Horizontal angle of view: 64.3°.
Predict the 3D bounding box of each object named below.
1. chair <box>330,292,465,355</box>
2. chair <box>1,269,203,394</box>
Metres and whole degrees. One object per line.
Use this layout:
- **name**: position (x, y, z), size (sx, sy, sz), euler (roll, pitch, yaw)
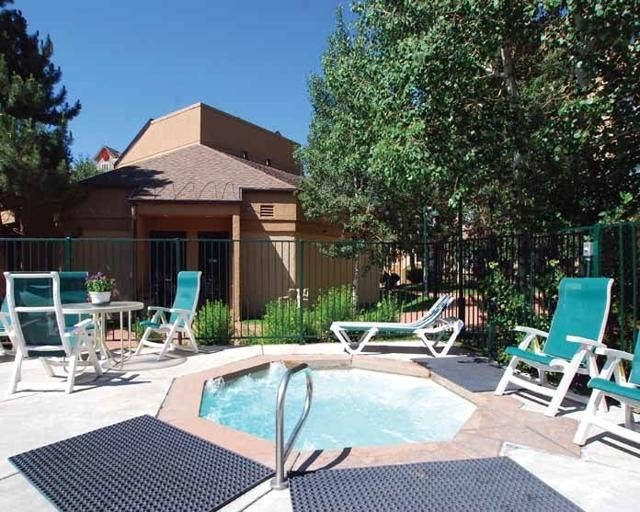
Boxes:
- **chair**: position (1.451, 1.492, 10.475), size (2.145, 1.107, 1.376), euler (1, -3, 3)
- **chair**: position (-3.112, 1.086, 9.224), size (1.278, 2.226, 4.124), euler (0, -1, 15)
